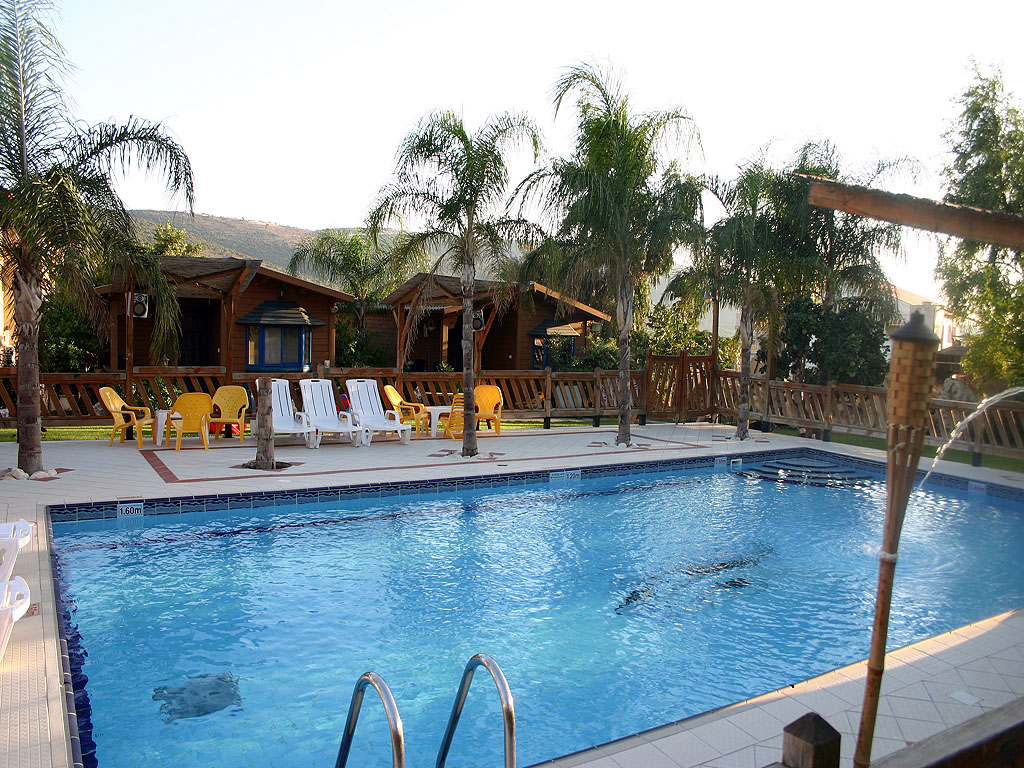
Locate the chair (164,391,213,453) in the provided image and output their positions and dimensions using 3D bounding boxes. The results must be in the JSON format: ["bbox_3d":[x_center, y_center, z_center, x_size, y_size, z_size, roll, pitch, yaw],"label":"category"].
[{"bbox_3d":[-5.779,0.599,13.928,0.597,0.860,0.665,-5,-24,-2],"label":"chair"}]

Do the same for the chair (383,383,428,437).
[{"bbox_3d":[-2.264,0.562,16.626,1.018,1.450,0.928,0,19,0],"label":"chair"}]

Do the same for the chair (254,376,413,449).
[{"bbox_3d":[-3.502,0.556,15.383,2.505,1.302,1.853,-1,1,-19],"label":"chair"}]

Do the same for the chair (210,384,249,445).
[{"bbox_3d":[-5.591,0.570,15.086,0.734,1.042,0.759,2,-5,-17],"label":"chair"}]

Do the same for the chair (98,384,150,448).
[{"bbox_3d":[-7.175,0.652,14.258,0.706,1.012,0.680,-1,6,2],"label":"chair"}]

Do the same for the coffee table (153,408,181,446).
[{"bbox_3d":[-6.519,0.823,14.330,0.622,0.912,0.657,0,1,-18],"label":"coffee table"}]

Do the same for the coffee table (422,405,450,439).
[{"bbox_3d":[-1.690,0.802,16.687,0.592,0.655,0.623,-1,6,-15],"label":"coffee table"}]

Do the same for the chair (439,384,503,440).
[{"bbox_3d":[-0.979,0.627,16.512,1.057,1.617,1.172,1,-2,6],"label":"chair"}]
